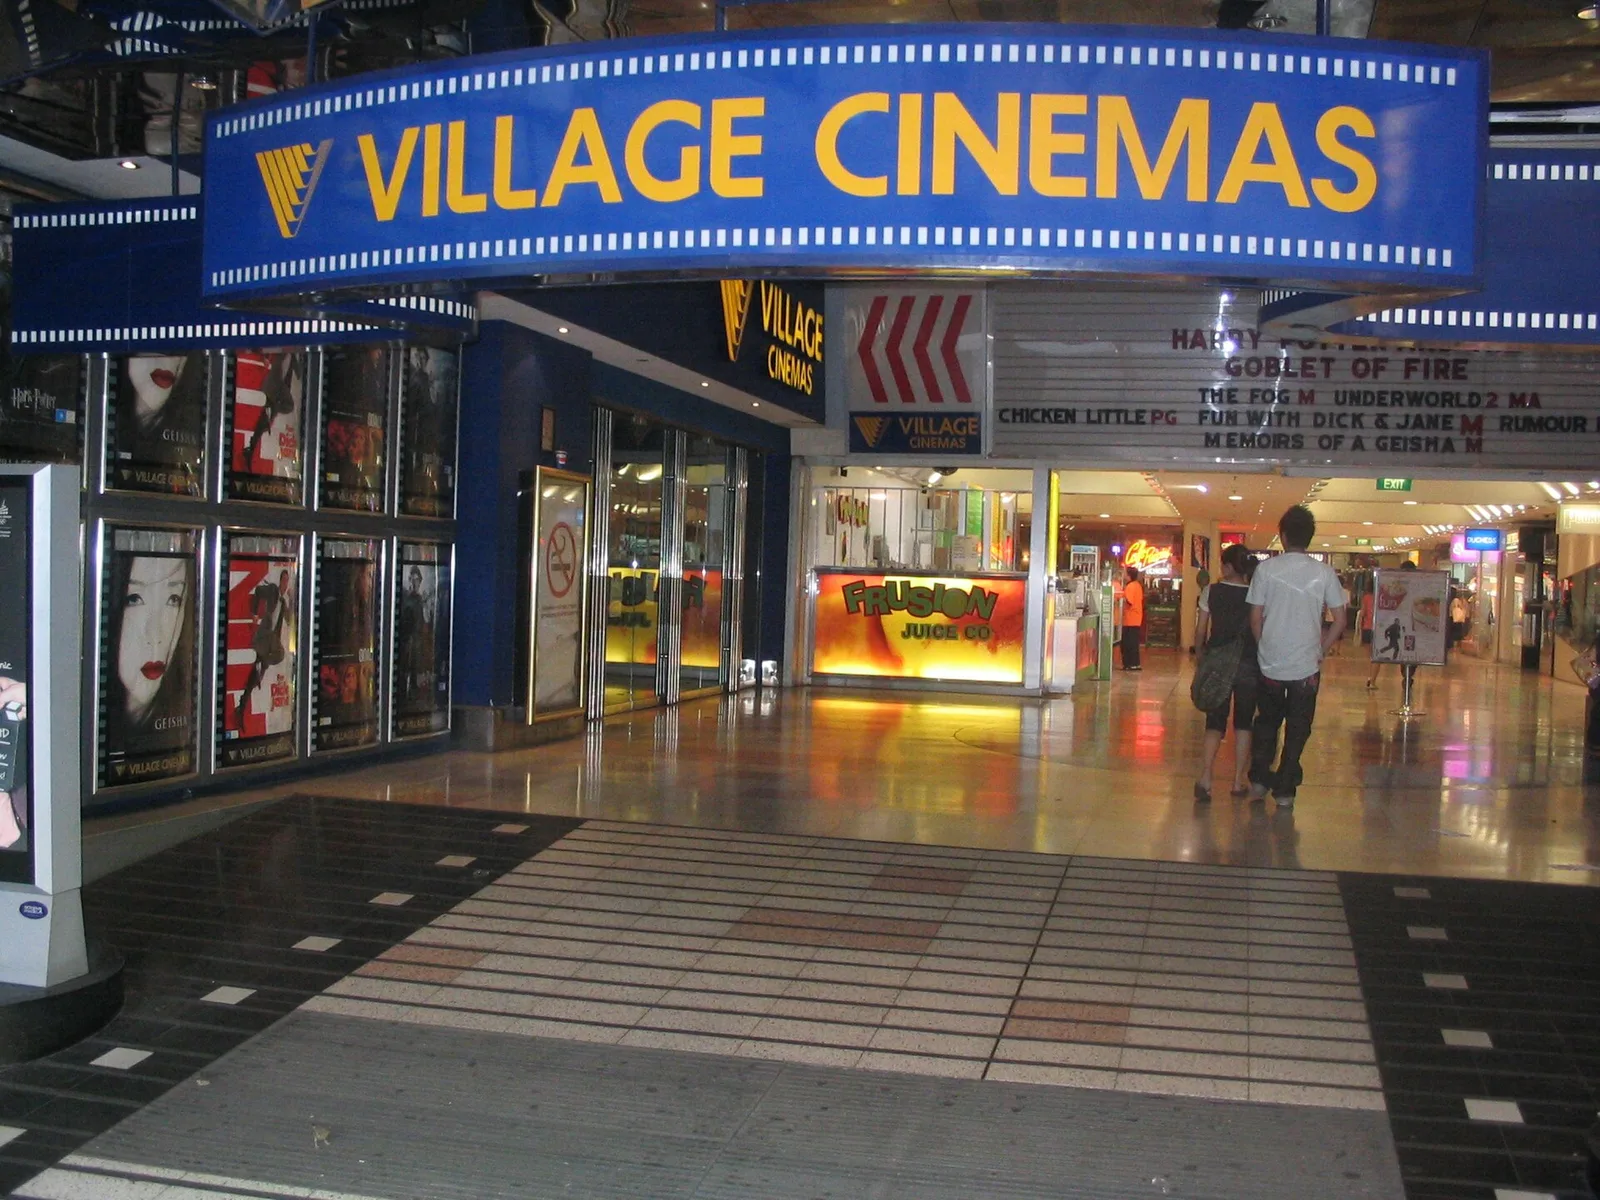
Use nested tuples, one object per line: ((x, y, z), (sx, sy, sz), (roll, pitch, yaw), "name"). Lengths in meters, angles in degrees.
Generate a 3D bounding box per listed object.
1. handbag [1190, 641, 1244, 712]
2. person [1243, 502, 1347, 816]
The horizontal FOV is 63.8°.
((2.765, 0.491, 8.633), (0.350, 0.449, 0.141), (11, 3, -22), "handbag")
((3.211, 0.355, 8.312), (0.561, 1.903, 0.948), (2, 3, 22), "person")
